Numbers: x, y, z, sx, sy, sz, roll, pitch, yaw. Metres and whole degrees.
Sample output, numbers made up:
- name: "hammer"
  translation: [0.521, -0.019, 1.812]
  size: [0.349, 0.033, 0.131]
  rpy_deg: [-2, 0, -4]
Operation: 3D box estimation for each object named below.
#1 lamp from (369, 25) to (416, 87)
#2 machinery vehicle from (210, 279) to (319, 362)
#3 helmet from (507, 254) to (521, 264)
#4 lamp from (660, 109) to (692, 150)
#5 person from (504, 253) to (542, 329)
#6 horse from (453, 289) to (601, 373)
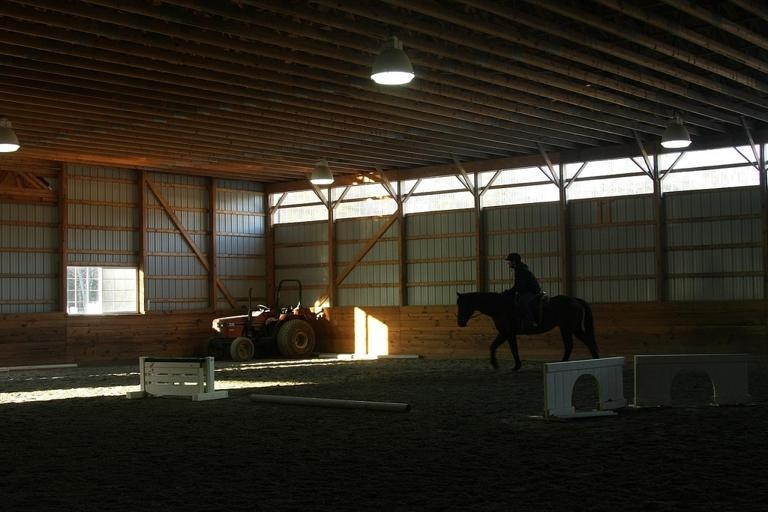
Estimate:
- name: "lamp"
  translation: [0.133, -2.868, 10.430]
  size: [0.798, 0.659, 0.823]
  rpy_deg: [0, 1, -42]
- name: "machinery vehicle"
  translation: [-3.476, 1.831, 20.803]
  size: [2.094, 1.851, 3.249]
  rpy_deg: [3, 3, 37]
- name: "helmet"
  translation: [2.727, 0.046, 15.051]
  size: [0.318, 0.192, 0.230]
  rpy_deg: [-1, -6, 25]
- name: "lamp"
  translation: [5.763, -2.528, 14.179]
  size: [0.467, 0.648, 0.780]
  rpy_deg: [-2, 0, 20]
- name: "person"
  translation: [2.957, 0.705, 15.043]
  size: [0.696, 1.292, 0.418]
  rpy_deg: [-2, -1, 10]
- name: "horse"
  translation: [3.046, 1.555, 15.235]
  size: [3.201, 1.492, 0.679]
  rpy_deg: [-1, -12, -14]
